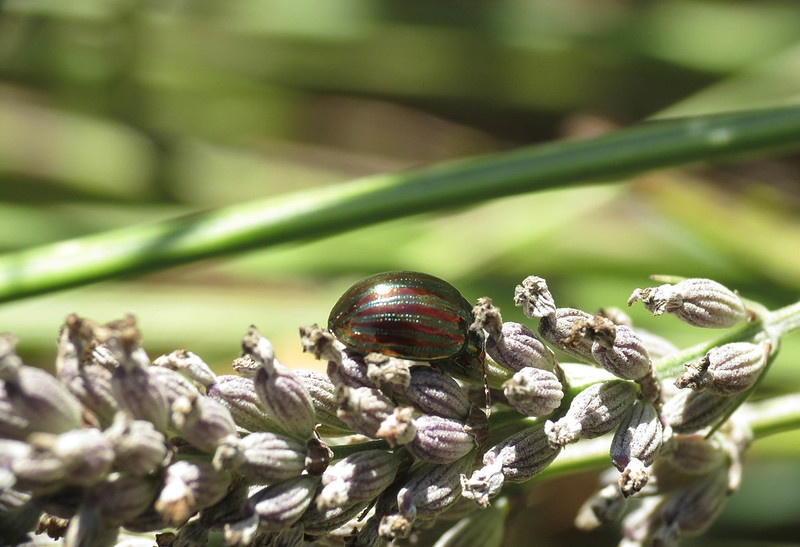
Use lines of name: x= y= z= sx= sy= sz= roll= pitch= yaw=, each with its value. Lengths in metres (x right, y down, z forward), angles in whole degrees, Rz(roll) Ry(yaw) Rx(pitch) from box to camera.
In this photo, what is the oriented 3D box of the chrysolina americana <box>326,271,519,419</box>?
chrysolina americana: x=0.025 y=0.119 z=1.509 sx=0.263 sy=0.135 sz=0.255 roll=6 pitch=33 yaw=-7
